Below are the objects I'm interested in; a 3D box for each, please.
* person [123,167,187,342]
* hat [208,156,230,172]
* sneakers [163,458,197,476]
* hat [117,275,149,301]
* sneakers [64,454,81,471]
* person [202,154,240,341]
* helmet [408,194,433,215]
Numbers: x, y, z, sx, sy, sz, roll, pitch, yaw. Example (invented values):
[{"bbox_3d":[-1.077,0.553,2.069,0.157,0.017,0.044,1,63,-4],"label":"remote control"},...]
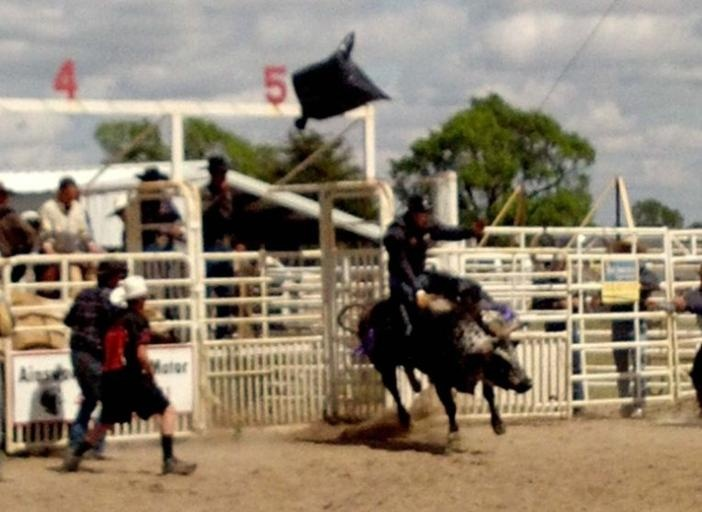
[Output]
[{"bbox_3d":[-2.838,-0.153,27.088,1.092,2.300,0.465,-10,-10,32],"label":"person"},{"bbox_3d":[-2.061,-1.373,27.653,0.242,0.178,0.246,1,-1,1],"label":"hat"},{"bbox_3d":[-2.378,2.939,24.763,0.419,0.206,0.227,-3,1,-3],"label":"sneakers"},{"bbox_3d":[-2.941,0.456,24.575,0.304,0.135,0.349,-6,8,29],"label":"hat"},{"bbox_3d":[-3.853,2.900,24.836,0.151,0.212,0.128,19,-16,14],"label":"sneakers"},{"bbox_3d":[-2.033,-0.106,27.455,0.470,2.829,0.934,-2,-4,-4],"label":"person"},{"bbox_3d":[0.966,-0.722,25.966,0.340,0.283,0.191,-3,-4,15],"label":"helmet"}]
